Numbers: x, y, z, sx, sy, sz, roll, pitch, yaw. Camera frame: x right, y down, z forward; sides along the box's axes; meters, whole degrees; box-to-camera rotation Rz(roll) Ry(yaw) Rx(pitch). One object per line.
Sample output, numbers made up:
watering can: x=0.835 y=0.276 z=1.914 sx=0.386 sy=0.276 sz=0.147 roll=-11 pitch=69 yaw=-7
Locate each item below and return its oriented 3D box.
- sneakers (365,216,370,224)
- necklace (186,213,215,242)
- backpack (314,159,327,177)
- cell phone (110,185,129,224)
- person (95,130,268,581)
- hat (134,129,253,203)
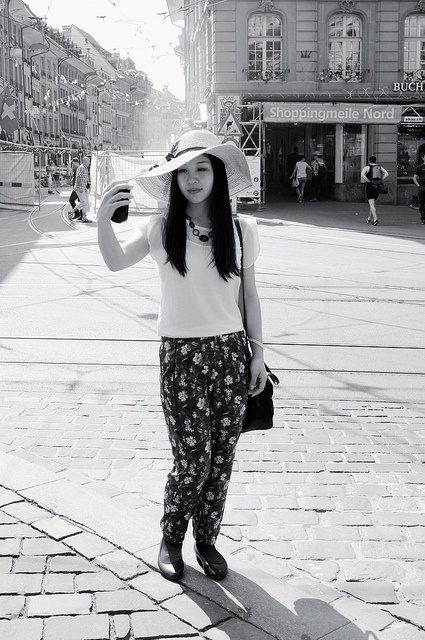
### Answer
sneakers: x=5.116 y=-3.291 z=19.680 sx=0.130 sy=0.146 sz=0.377 roll=1 pitch=5 yaw=8
necklace: x=-0.041 y=-0.298 z=1.967 sx=0.069 sy=0.094 sz=0.024 roll=-37 pitch=2 yaw=-37
backpack: x=5.127 y=-7.267 z=28.495 sx=0.279 sy=0.627 sz=1.201 roll=5 pitch=3 yaw=25
cell phone: x=-0.286 y=-0.357 z=1.857 sx=0.063 sy=0.116 sz=0.025 roll=8 pitch=0 yaw=16
person: x=-0.104 y=0.113 z=2.060 sx=0.592 sy=1.548 sz=0.337 roll=3 pitch=2 yaw=-13
hat: x=-0.072 y=-0.527 z=2.078 sx=0.329 sy=0.161 sz=0.317 roll=6 pitch=-24 yaw=-34
